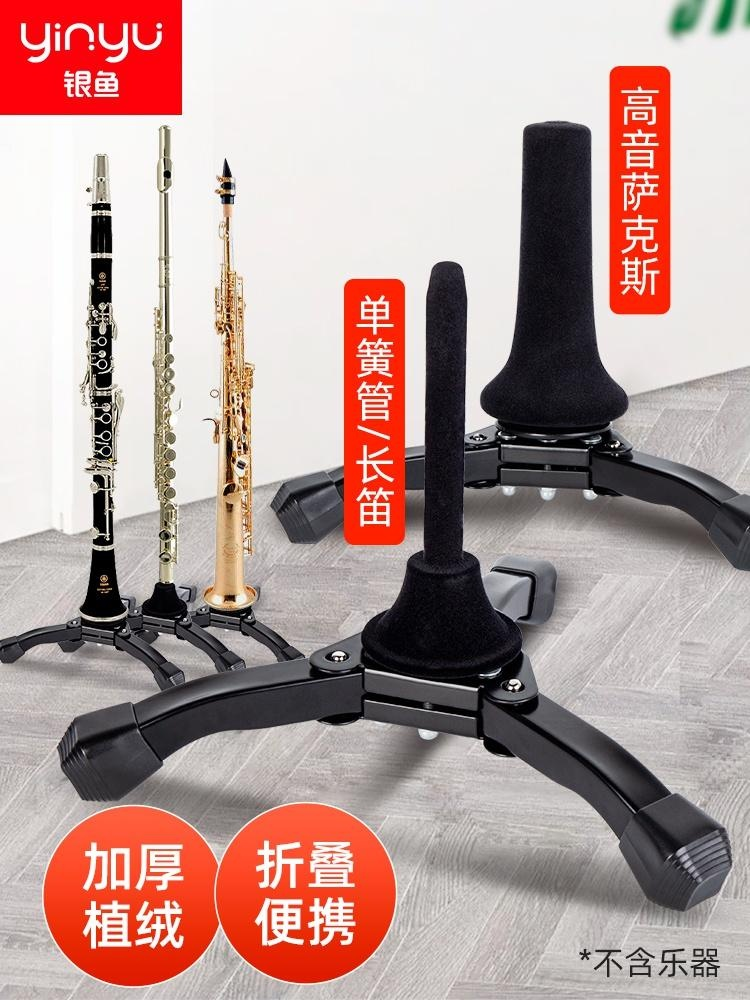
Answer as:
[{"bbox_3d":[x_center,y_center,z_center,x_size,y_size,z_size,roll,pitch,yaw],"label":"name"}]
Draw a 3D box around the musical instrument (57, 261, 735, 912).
[{"bbox_3d":[0.053,0.123,1.297,0.801,0.622,0.683,7,27,11],"label":"musical instrument"}]
